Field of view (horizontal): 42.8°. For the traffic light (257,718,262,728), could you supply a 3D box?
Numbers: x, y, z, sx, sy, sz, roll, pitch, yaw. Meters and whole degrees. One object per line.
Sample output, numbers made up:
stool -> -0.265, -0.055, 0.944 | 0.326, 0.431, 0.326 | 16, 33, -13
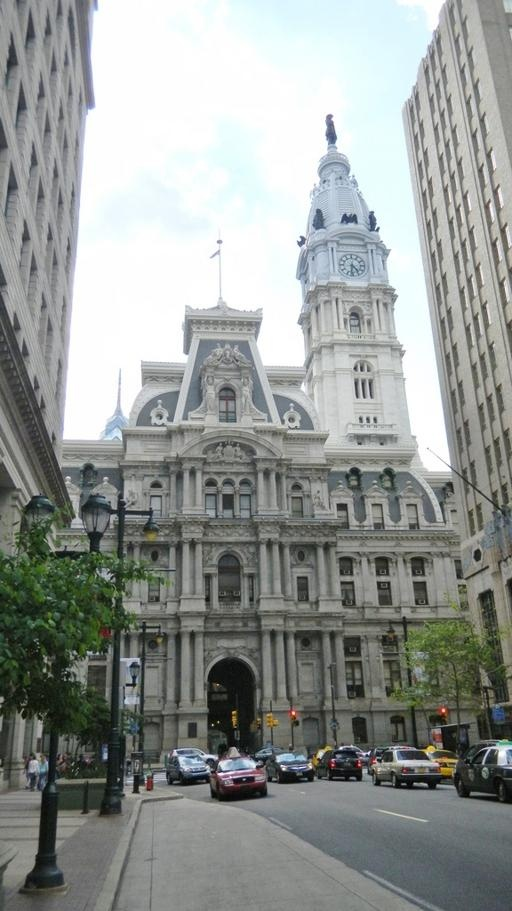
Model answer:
traffic light -> 0.280, 23.459, 57.201 | 0.125, 0.805, 0.700 | 9, -25, -27
